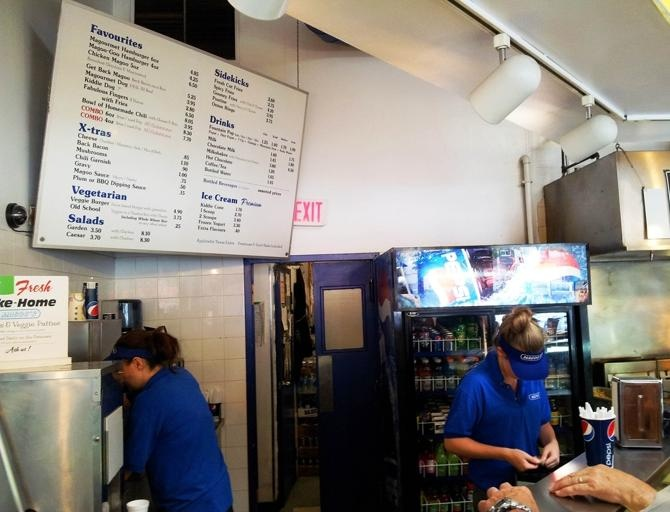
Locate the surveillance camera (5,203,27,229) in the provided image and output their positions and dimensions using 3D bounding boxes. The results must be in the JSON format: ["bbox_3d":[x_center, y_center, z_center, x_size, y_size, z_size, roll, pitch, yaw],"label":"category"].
[{"bbox_3d":[-1.896,-0.235,3.186,0.057,0.136,0.130,-5,-11,5],"label":"surveillance camera"}]

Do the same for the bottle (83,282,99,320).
[{"bbox_3d":[-1.541,0.280,3.398,0.093,0.236,0.176,2,-7,-26],"label":"bottle"}]

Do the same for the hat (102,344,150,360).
[{"bbox_3d":[-1.182,0.553,3.072,0.190,0.067,0.124,3,-6,-2],"label":"hat"}]

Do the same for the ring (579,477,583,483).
[{"bbox_3d":[1.115,1.014,2.450,0.017,0.019,0.004,3,-29,11],"label":"ring"}]

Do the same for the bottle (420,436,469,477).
[{"bbox_3d":[0.820,1.563,4.131,0.283,0.314,0.292,1,-6,-4],"label":"bottle"}]
